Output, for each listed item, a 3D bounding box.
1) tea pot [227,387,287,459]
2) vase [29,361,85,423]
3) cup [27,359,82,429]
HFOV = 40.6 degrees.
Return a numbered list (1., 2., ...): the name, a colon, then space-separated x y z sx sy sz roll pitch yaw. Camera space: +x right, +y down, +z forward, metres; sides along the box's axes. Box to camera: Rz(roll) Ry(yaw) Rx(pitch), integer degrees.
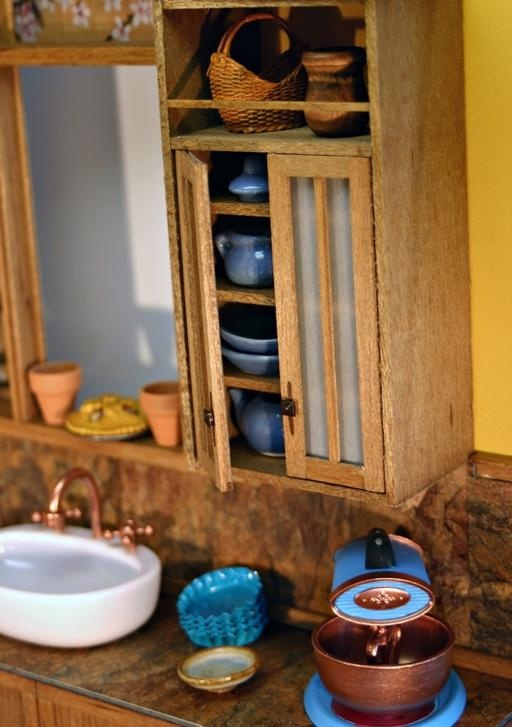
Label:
1. tea pot: 0.006 0.118 1.384 0.093 0.092 0.140 -10 16 -34
2. vase: -0.530 0.077 1.901 0.166 0.167 0.166 4 8 26
3. cup: -0.529 0.076 1.909 0.173 0.176 0.175 0 8 0
